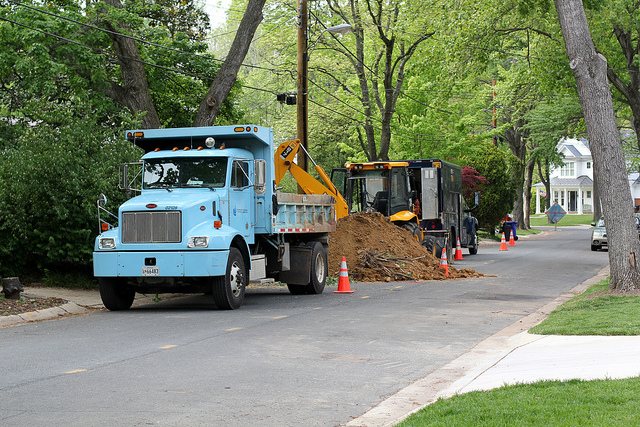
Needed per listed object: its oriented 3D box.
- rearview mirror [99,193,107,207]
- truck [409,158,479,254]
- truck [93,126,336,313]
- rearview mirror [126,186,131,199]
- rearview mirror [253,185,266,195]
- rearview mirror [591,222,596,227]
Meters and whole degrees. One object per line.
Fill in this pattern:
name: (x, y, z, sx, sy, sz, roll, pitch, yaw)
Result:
rearview mirror: (-5.192, -0.346, 16.174, 0.141, 0.271, 0.569, -1, -5, -21)
truck: (5.391, -0.740, 31.327, 2.524, 3.203, 6.082, -1, 1, 19)
truck: (-2.324, 0.115, 18.925, 3.488, 3.549, 7.215, -2, -6, 18)
rearview mirror: (-5.173, -0.602, 18.275, 0.164, 0.284, 0.111, 1, 9, -7)
rearview mirror: (-1.539, -0.614, 17.185, 0.213, 0.207, 0.095, 0, 5, 5)
rearview mirror: (15.469, 0.610, 38.340, 0.325, 0.304, 0.108, 4, -4, -4)
